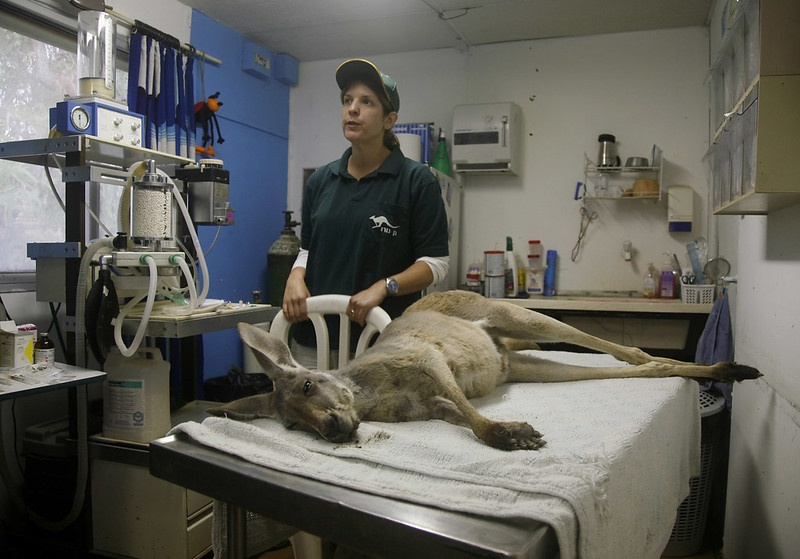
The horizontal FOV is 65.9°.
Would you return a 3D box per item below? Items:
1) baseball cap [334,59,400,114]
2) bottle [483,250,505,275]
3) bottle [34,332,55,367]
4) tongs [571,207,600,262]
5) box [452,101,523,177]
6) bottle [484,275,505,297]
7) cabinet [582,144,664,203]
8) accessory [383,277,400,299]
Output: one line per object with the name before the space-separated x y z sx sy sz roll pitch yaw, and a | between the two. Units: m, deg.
baseball cap | -0.126 -0.841 2.651 0.184 0.275 0.147 14 55 38
bottle | 0.762 -0.125 4.977 0.160 0.202 0.250 2 5 10
bottle | -1.724 0.336 2.992 0.121 0.123 0.076 4 6 31
tongs | 1.531 -0.374 5.115 0.154 0.451 0.053 22 18 29
box | 0.723 -1.018 5.190 0.705 0.742 0.503 0 3 19
bottle | 0.753 0.057 4.911 0.151 0.178 0.157 2 -2 -2
cabinet | 1.772 -0.776 4.923 0.697 0.554 0.392 0 7 18
accessory | -0.036 0.029 2.546 0.046 0.076 0.070 -4 2 -39
